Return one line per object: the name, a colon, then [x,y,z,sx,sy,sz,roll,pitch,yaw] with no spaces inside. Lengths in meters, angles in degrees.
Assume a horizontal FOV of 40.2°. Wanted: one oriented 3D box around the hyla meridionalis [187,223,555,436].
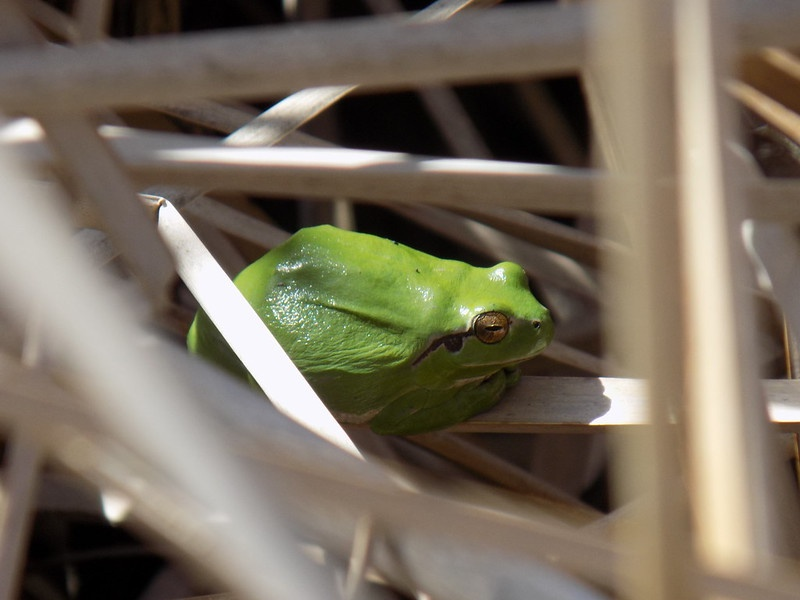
hyla meridionalis: [-0.041,0.047,2.128,0.569,0.262,0.403,10,49,-4]
